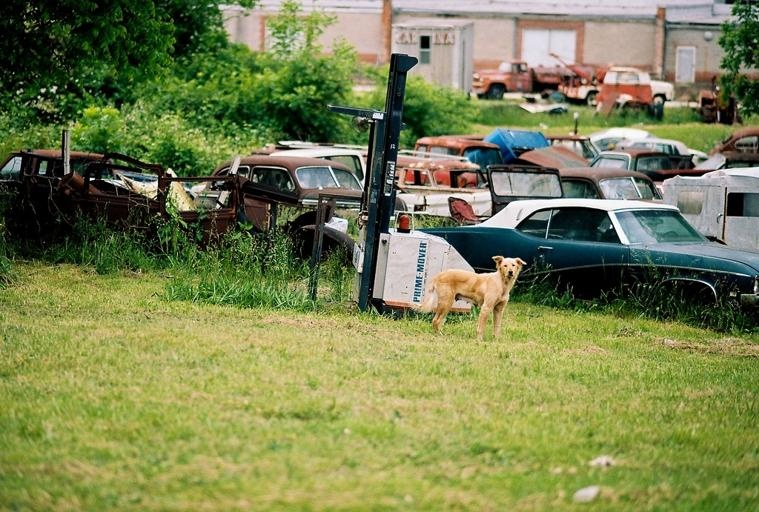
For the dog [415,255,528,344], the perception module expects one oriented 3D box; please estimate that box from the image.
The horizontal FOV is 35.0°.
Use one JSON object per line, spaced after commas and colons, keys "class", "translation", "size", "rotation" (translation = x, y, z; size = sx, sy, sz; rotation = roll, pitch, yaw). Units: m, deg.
{"class": "dog", "translation": [1.463, 0.696, 19.419], "size": [1.823, 1.379, 0.642], "rotation": [1, 0, 23]}
